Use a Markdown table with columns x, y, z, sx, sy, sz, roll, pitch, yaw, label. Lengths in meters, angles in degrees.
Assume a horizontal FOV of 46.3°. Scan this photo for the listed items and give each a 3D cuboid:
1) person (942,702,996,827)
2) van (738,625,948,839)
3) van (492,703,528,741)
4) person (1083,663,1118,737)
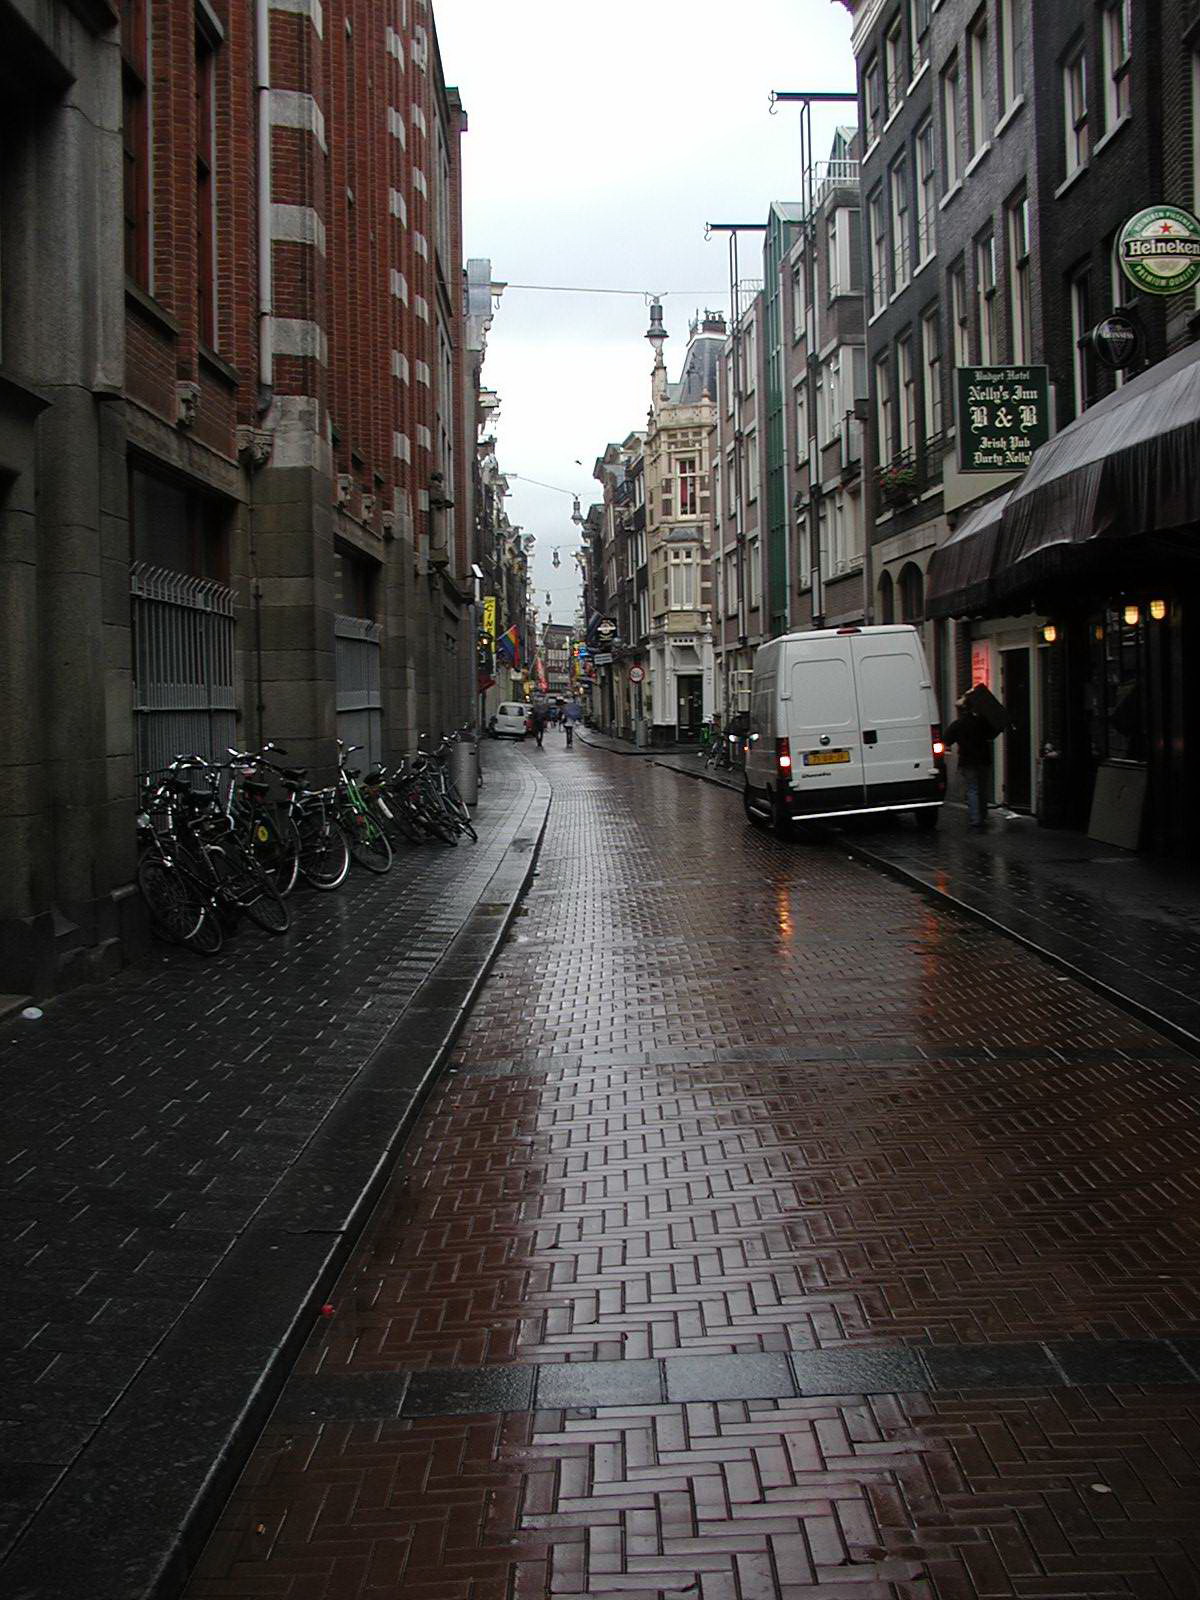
| x | y | z | sx | sy | sz | roll | pitch | yaw | label |
| --- | --- | --- | --- | --- | --- | --- | --- | --- | --- |
| 4.990 | -0.568 | 18.801 | 0.652 | 1.804 | 1.283 | 0 | 1 | 17 | person |
| 3.126 | -0.946 | 19.296 | 1.373 | 2.099 | 3.142 | -3 | 1 | -3 | van |
| -5.109 | -4.453 | 81.039 | 1.812 | 2.060 | 3.228 | -1 | 1 | -10 | van |
| 5.962 | -1.123 | 16.764 | 0.163 | 0.892 | 1.201 | 0 | 1 | 11 | person |
